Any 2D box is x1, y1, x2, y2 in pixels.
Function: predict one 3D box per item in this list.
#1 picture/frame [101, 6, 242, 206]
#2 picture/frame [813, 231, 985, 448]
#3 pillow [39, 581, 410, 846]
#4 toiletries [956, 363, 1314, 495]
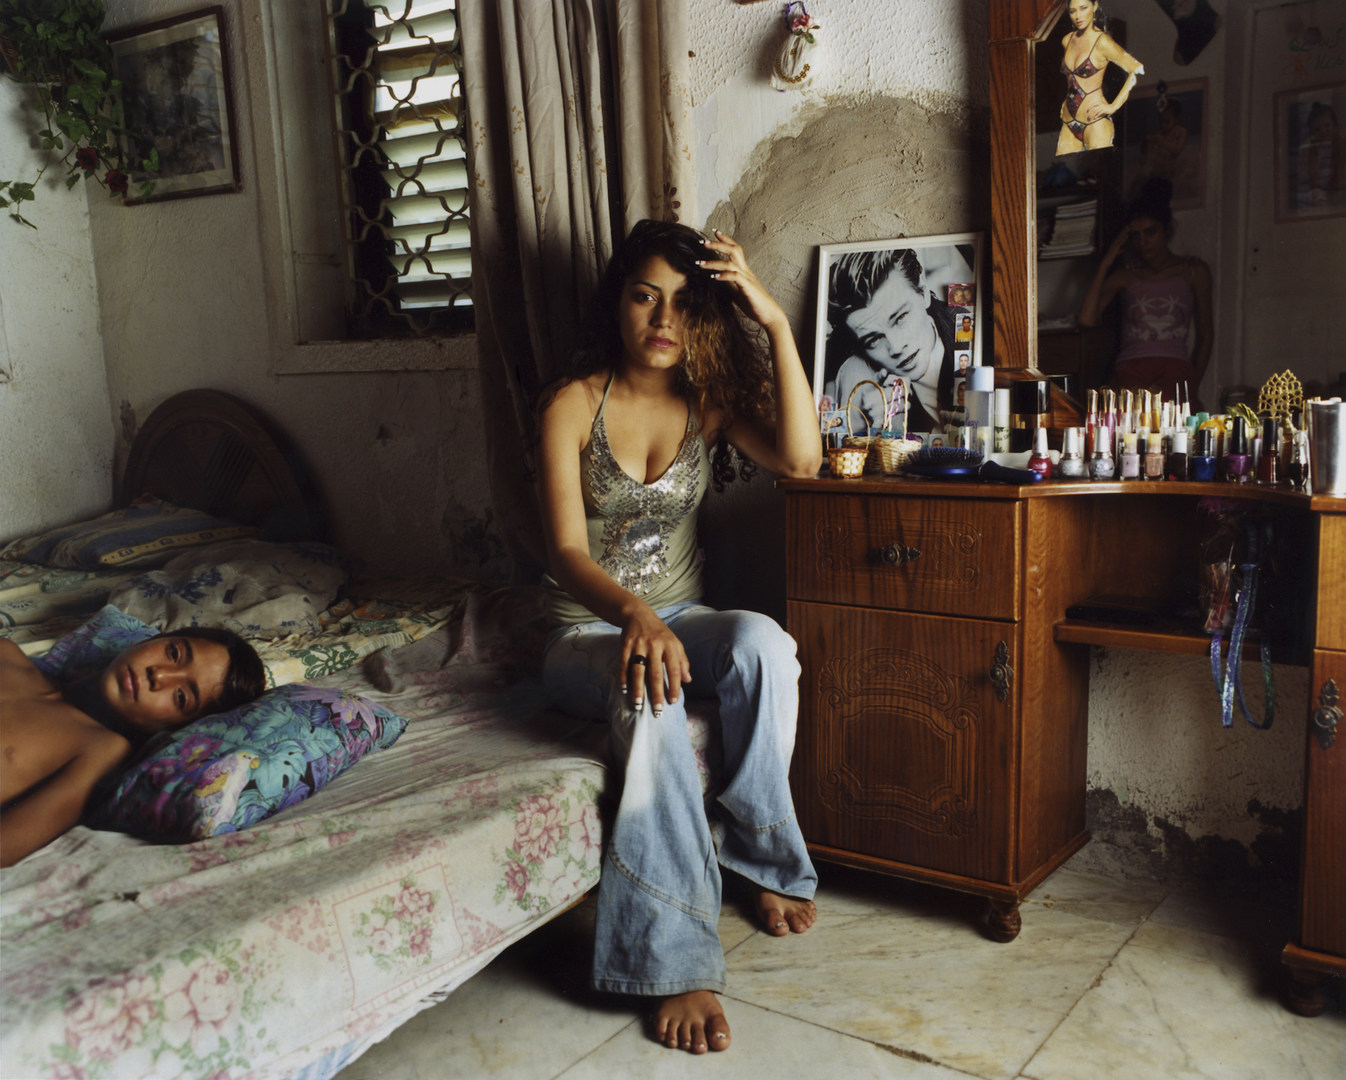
[{"bbox_3d":[-1.751,-1.529,3.511,0.612,0.730,0.045,3,12,30],"label":"picture/frame"},{"bbox_3d":[0.553,-0.474,2.367,0.457,0.708,0.044,-1,3,24],"label":"picture/frame"},{"bbox_3d":[-0.733,0.367,1.766,0.418,0.150,0.432,19,23,28],"label":"pillow"},{"bbox_3d":[0.969,-0.224,2.026,0.587,0.217,0.332,4,11,26],"label":"toiletries"}]
